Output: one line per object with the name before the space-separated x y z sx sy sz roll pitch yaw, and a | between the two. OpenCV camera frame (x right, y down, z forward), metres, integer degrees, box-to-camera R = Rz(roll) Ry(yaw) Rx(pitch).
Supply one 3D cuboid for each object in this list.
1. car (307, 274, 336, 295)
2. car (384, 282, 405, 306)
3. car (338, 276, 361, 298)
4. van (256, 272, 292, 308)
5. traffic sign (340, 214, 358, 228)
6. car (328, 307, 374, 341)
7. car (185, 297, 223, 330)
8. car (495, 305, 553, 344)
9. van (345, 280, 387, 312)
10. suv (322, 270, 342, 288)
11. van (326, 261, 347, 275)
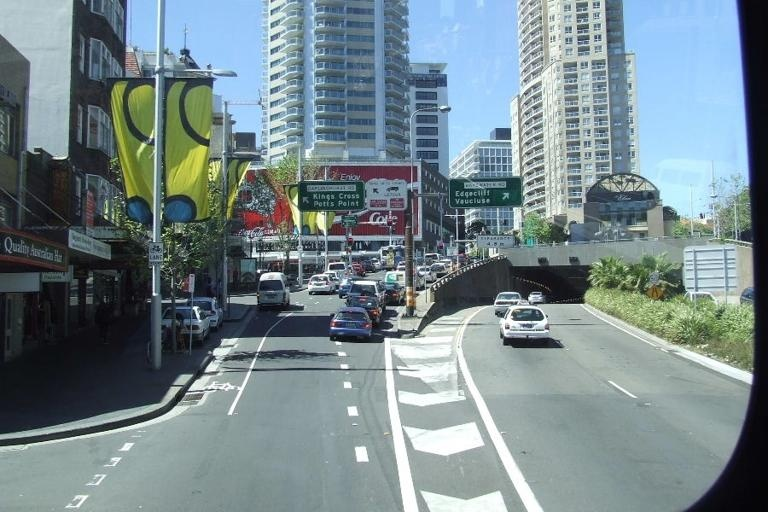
car | -5.055 2.323 65.162 1.774 1.593 2.259 -2 0 7
car | 0.798 2.700 55.842 1.302 1.512 2.281 -2 0 1
car | -2.467 2.250 56.750 1.259 1.097 2.975 0 1 4
van | -7.122 2.223 51.765 1.333 1.561 2.660 0 5 -1
traffic sign | -2.506 -2.902 67.240 1.448 0.987 1.731 -1 2 -27
car | -1.618 3.321 38.746 1.896 1.499 1.135 -2 0 1
car | -9.192 2.914 41.923 0.992 1.007 2.382 -1 3 -1
car | 6.725 3.228 38.402 1.222 1.078 2.712 -1 1 3
van | -1.271 2.474 48.480 1.350 1.396 2.627 -1 2 15
suv | -4.243 2.011 67.565 0.932 1.012 2.209 -1 4 6
van | -4.538 1.324 77.146 1.149 1.250 1.920 1 4 11
